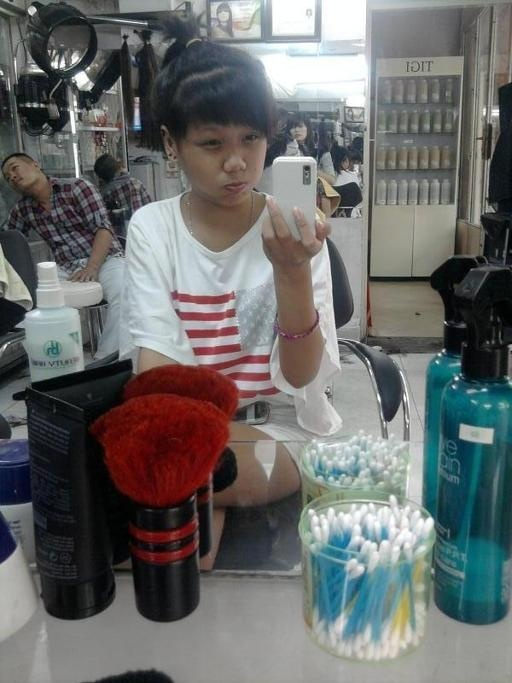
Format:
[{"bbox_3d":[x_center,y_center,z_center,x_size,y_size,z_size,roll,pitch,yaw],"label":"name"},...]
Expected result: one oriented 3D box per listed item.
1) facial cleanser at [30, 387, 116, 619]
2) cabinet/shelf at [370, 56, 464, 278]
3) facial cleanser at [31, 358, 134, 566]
[{"bbox_3d":[-0.147,0.131,0.426,0.064,0.193,0.044,-6,15,-10],"label":"facial cleanser"},{"bbox_3d":[1.711,-1.825,6.114,0.995,3.642,0.420,0,16,5],"label":"cabinet/shelf"},{"bbox_3d":[-0.153,0.117,0.432,0.080,0.174,0.050,2,7,29],"label":"facial cleanser"}]
